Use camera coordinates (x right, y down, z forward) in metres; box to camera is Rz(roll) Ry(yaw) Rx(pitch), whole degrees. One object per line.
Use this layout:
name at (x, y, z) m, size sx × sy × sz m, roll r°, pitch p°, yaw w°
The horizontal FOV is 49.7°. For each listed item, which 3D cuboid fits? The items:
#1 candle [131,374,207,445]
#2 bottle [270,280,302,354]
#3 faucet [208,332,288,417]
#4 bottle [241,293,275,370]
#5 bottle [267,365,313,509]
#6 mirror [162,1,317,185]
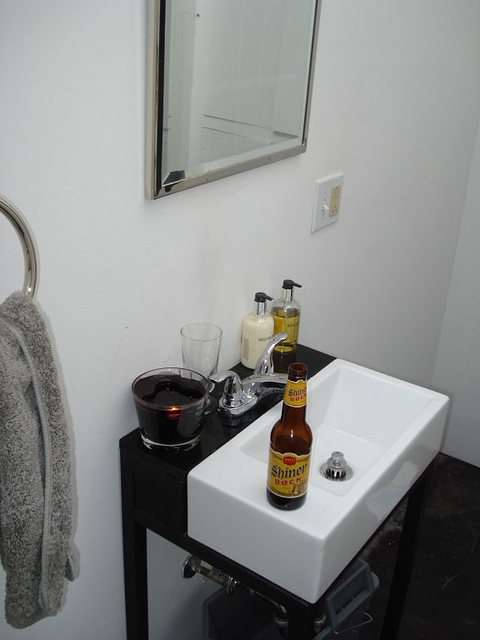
candle at (-0.113, 0.153, 0.849) m, size 0.120 × 0.091 × 0.136 m, roll 2°, pitch 13°, yaw -4°
bottle at (0.102, -0.012, 1.156) m, size 0.065 × 0.168 × 0.066 m, roll 0°, pitch 30°, yaw 0°
faucet at (0.043, 0.110, 0.962) m, size 0.183 × 0.086 × 0.134 m, roll -25°, pitch 25°, yaw -29°
bottle at (0.040, 0.021, 1.119) m, size 0.068 × 0.180 × 0.067 m, roll 4°, pitch 21°, yaw -1°
bottle at (0.072, 0.151, 0.706) m, size 0.058 × 0.222 × 0.067 m, roll 6°, pitch 21°, yaw 4°
mirror at (0.016, -0.407, 0.894) m, size 0.074 × 0.315 × 0.457 m, roll 13°, pitch 23°, yaw 23°
